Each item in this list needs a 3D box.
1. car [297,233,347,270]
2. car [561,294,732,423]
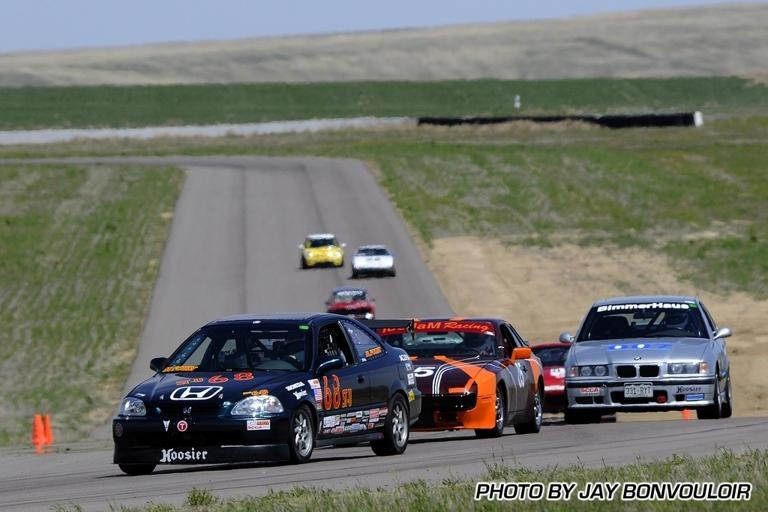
[{"bbox_3d":[-2.458,-0.155,47.890,1.726,1.164,1.139,-2,9,-4],"label":"car"},{"bbox_3d":[5.999,2.520,28.129,3.713,2.725,2.033,0,9,9],"label":"car"}]
